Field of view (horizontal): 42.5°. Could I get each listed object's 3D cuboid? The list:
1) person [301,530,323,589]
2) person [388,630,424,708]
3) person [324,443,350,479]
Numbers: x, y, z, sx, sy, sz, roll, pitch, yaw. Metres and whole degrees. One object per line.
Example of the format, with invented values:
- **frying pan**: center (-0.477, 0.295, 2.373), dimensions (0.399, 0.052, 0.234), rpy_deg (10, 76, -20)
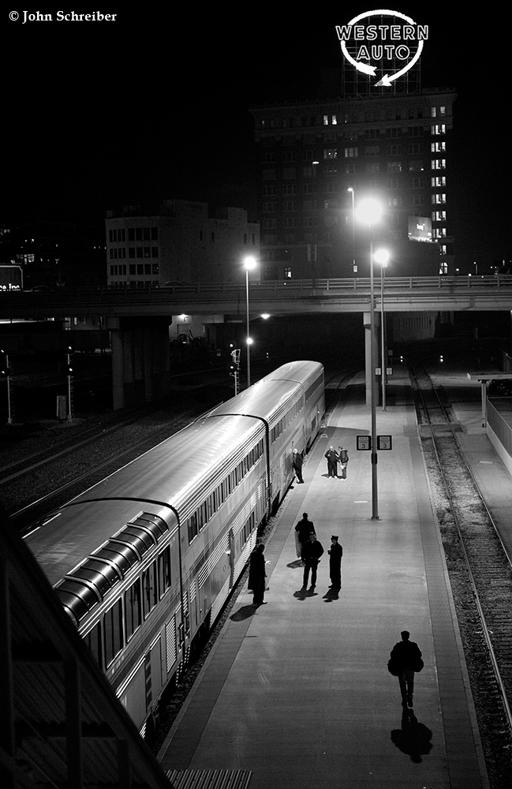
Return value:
- **person**: center (1.506, 4.454, 18.047), dimensions (0.451, 1.872, 0.534), rpy_deg (3, 26, -1)
- **person**: center (2.576, 4.743, 11.260), dimensions (0.433, 0.343, 1.254), rpy_deg (-6, 42, 15)
- **person**: center (4.101, 3.450, 33.422), dimensions (0.874, 1.756, 0.560), rpy_deg (-1, 1, 2)
